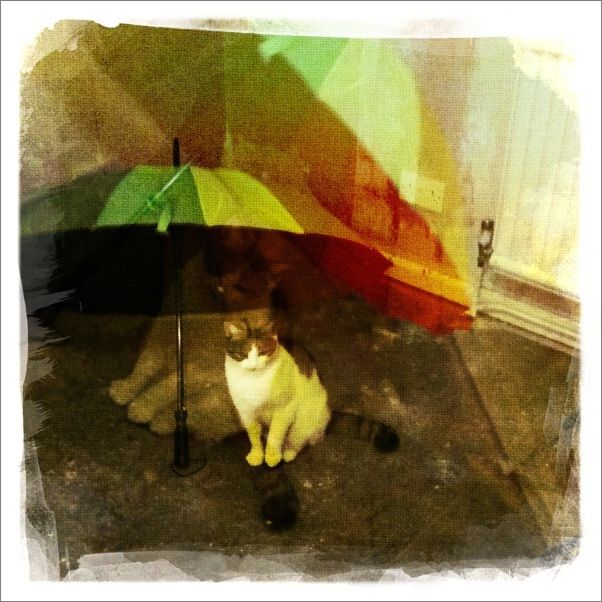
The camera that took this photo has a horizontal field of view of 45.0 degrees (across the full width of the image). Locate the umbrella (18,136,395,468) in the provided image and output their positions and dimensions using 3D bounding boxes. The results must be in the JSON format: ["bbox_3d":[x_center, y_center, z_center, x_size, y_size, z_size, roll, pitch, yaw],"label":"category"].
[{"bbox_3d":[-0.135,0.029,1.203,0.512,0.386,0.590,-26,15,-37],"label":"umbrella"}]

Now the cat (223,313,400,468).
[{"bbox_3d":[-0.013,0.118,1.248,0.274,0.303,0.203,-7,8,-7],"label":"cat"}]
